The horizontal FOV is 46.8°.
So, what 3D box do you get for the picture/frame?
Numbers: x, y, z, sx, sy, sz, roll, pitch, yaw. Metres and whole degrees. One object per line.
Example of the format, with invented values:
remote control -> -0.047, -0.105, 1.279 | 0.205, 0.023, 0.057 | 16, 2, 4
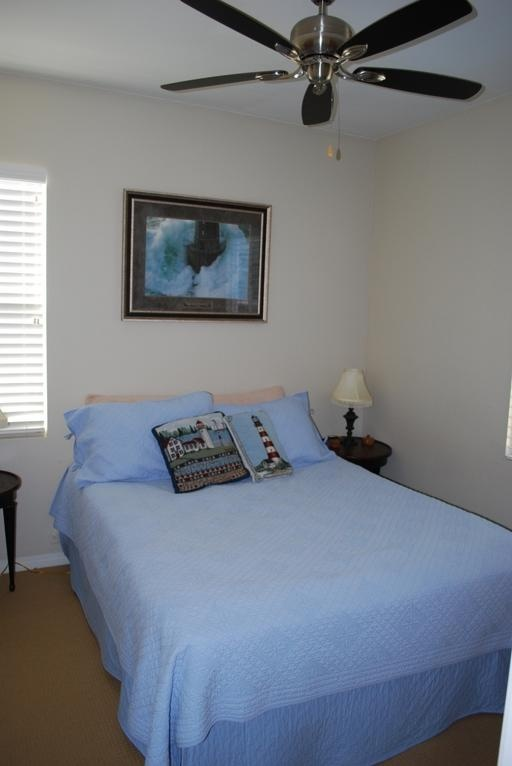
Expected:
picture/frame -> -0.341, -0.669, 3.047 | 0.727, 0.561, 0.029 | -2, 10, -26
